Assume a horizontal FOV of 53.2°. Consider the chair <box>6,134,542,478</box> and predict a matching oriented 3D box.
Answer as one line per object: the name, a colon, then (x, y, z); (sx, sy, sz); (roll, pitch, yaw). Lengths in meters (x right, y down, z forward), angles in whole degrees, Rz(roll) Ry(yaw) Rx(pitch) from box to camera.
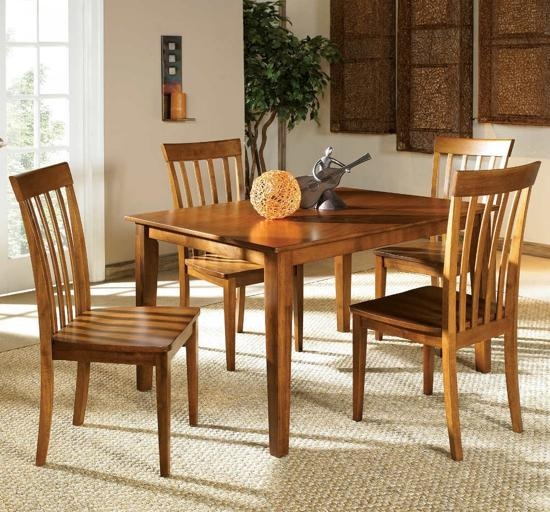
chair: (-0.101, 0.159, 1.958); (1.494, 0.998, 1.011); (-5, 14, -21)
